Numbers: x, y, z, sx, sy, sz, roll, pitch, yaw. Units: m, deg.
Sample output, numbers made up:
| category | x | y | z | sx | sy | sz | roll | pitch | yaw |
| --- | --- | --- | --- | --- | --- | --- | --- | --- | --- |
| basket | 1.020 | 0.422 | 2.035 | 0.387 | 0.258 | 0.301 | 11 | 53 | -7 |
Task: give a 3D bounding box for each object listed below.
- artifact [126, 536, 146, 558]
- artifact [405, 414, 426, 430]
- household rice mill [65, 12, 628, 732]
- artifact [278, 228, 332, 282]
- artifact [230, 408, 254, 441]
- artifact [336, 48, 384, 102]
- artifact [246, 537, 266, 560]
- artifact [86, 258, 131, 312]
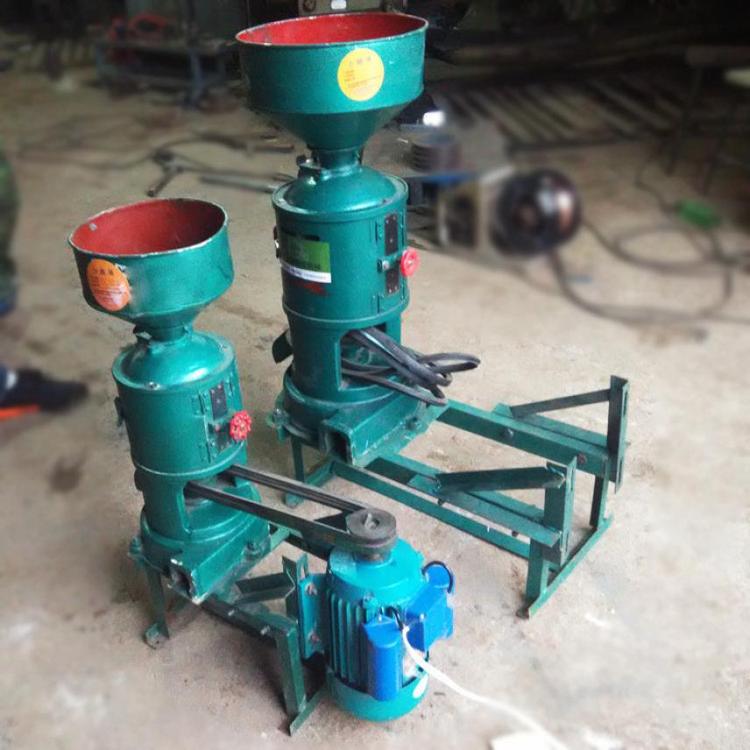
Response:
| category | x | y | z | sx | sy | sz | roll | pitch | yaw |
| --- | --- | --- | --- | --- | --- | --- | --- | --- | --- |
| artifact | -1.039 | 0.750 | 3.285 | 0.084 | 0.087 | 0.027 | 0 | 6 | 17 |
| artifact | 0.203 | 0.242 | 3.822 | 0.082 | 0.022 | 0.081 | -30 | 44 | -32 |
| household rice mill | 0.148 | 0.031 | 3.198 | 2.268 | 2.057 | 1.999 | 20 | 42 | 5 |
| artifact | -0.311 | -0.553 | 3.435 | 0.314 | 0.158 | 0.053 | 18 | 46 | 38 |
| artifact | -0.552 | 0.195 | 2.980 | 0.052 | 0.109 | 0.123 | 12 | 11 | 36 |
| artifact | -0.058 | -1.208 | 3.031 | 0.185 | 0.200 | 0.050 | -14 | 41 | -25 |
| artifact | -0.508 | 0.749 | 3.247 | 0.082 | 0.081 | 0.096 | 2 | 0 | 6 |
| artifact | -0.908 | -0.322 | 2.671 | 0.190 | 0.169 | 0.043 | 2 | 34 | 22 |
